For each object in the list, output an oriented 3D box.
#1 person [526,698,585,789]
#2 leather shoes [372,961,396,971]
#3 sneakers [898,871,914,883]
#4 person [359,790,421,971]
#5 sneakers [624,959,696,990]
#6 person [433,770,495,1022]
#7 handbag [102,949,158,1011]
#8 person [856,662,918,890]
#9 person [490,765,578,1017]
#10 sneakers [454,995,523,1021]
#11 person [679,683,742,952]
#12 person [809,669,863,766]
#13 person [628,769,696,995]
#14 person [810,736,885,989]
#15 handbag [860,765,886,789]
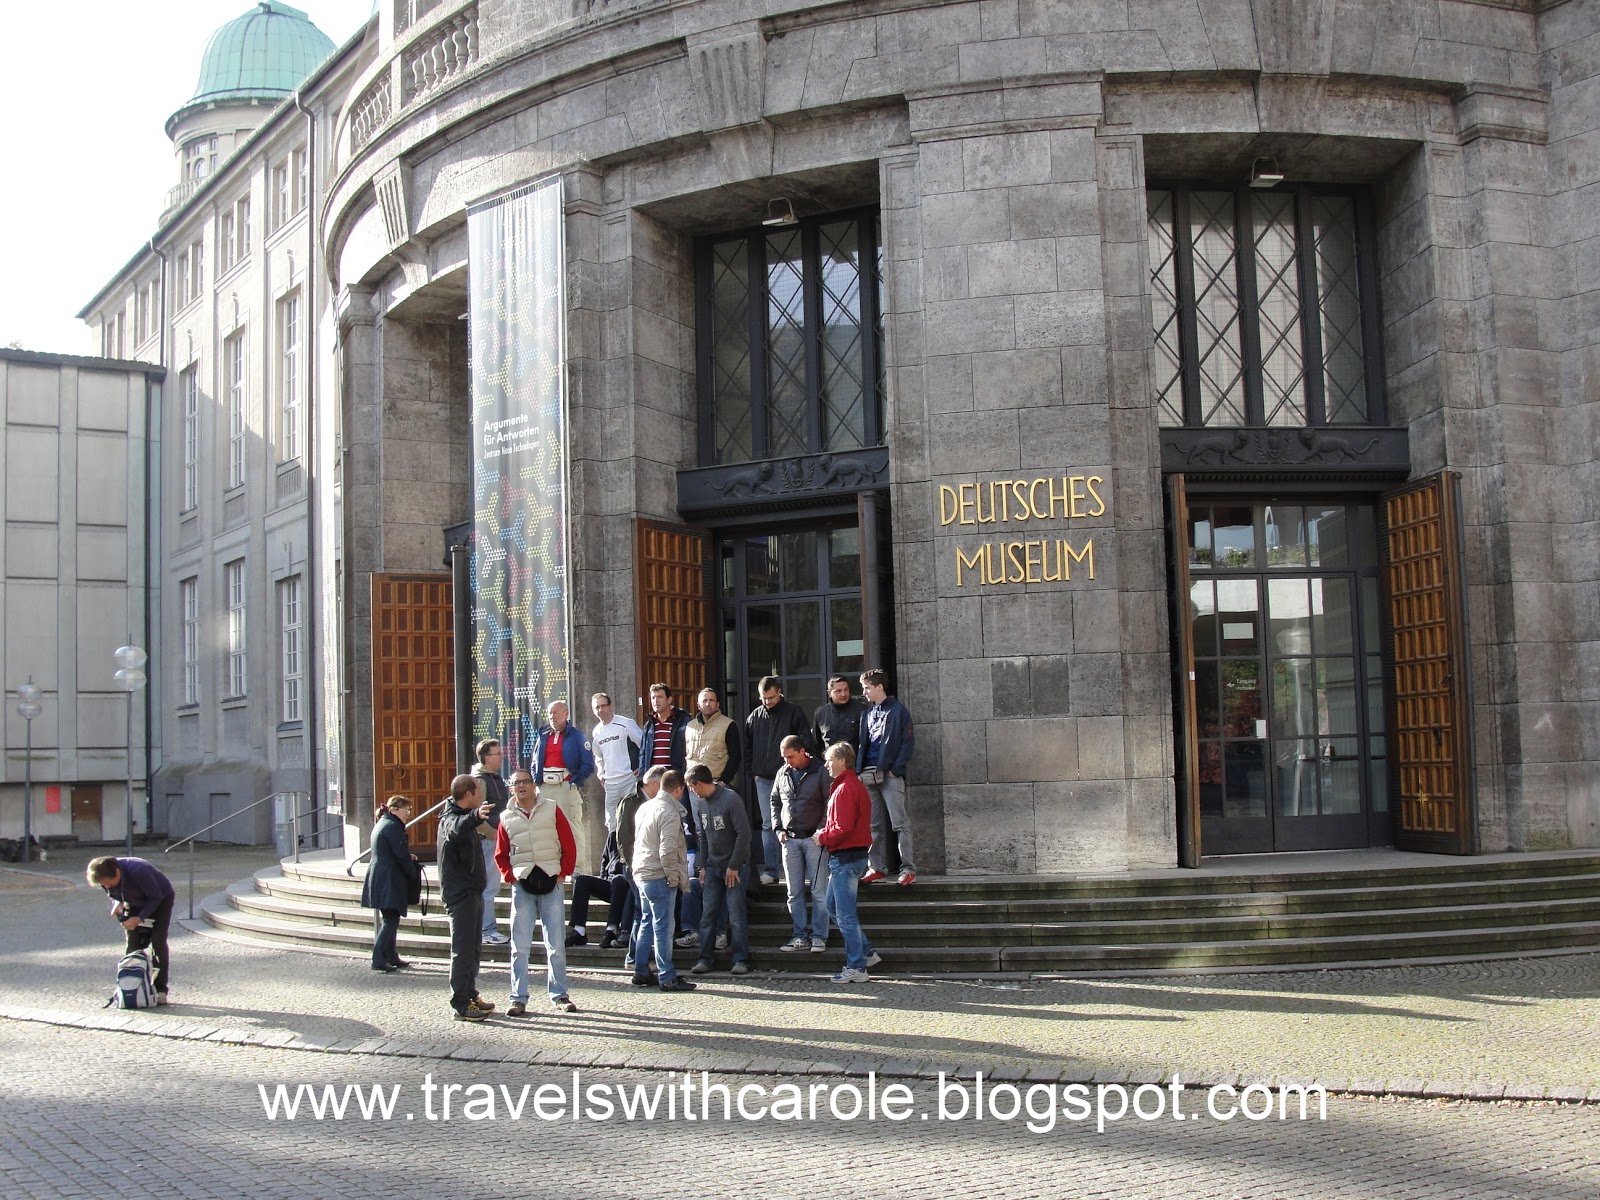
[{"bbox_3d":[-2.691,1.595,22.755,0.768,1.146,0.589,-4,-17,7],"label":"person"},{"bbox_3d":[-4.321,3.825,21.232,0.225,0.082,0.123,-3,8,-13],"label":"leather shoes"},{"bbox_3d":[1.159,2.894,21.466,0.163,0.161,0.231,-1,8,5],"label":"sneakers"},{"bbox_3d":[-4.326,2.965,21.574,0.605,1.869,0.984,-3,8,-13],"label":"person"},{"bbox_3d":[-1.356,3.696,19.946,0.604,0.273,0.233,-3,-11,9],"label":"sneakers"},{"bbox_3d":[-3.131,2.777,19.242,0.499,2.328,1.278,-3,8,-9],"label":"person"},{"bbox_3d":[-6.381,3.674,19.560,0.432,0.541,0.531,2,-16,-10],"label":"handbag"},{"bbox_3d":[0.878,1.858,21.780,0.698,2.273,0.589,-10,-14,41],"label":"person"},{"bbox_3d":[-2.498,2.737,19.479,0.736,2.327,1.414,-3,8,-8],"label":"person"},{"bbox_3d":[-2.872,3.797,18.925,0.673,0.288,0.236,0,-2,-9],"label":"sneakers"},{"bbox_3d":[-0.953,2.172,21.688,0.700,2.582,0.703,-6,-7,25],"label":"person"},{"bbox_3d":[0.438,1.283,22.293,0.694,0.588,1.643,-2,36,2],"label":"person"},{"bbox_3d":[-1.299,2.731,19.880,0.605,2.086,0.753,1,1,-31],"label":"person"},{"bbox_3d":[0.473,2.568,20.127,0.483,2.318,0.572,0,8,15],"label":"person"},{"bbox_3d":[0.809,1.862,21.750,0.269,0.272,0.179,-2,-12,33],"label":"handbag"}]
